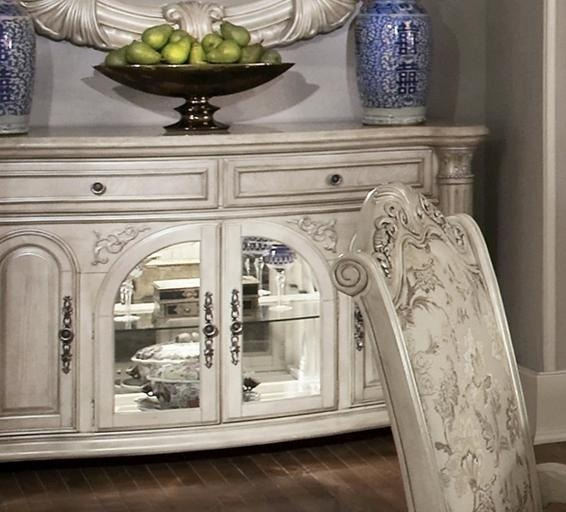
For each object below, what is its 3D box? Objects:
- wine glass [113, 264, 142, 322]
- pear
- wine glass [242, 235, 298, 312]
[{"bbox_3d":[-0.451,0.116,2.305,0.089,0.167,0.029,-5,-3,-9],"label":"wine glass"},{"bbox_3d":[-0.278,-0.662,2.429,0.543,0.169,0.139,-3,-3,-9],"label":"pear"},{"bbox_3d":[-0.058,0.050,2.381,0.156,0.214,0.118,-4,12,-25],"label":"wine glass"}]
